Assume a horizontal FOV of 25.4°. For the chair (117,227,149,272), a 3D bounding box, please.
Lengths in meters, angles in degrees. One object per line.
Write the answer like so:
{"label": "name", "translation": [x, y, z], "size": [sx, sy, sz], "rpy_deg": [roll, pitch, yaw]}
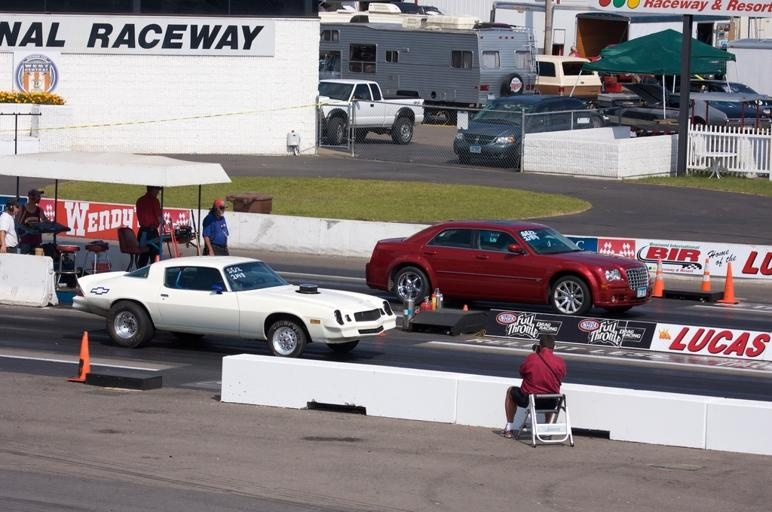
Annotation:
{"label": "chair", "translation": [-6.469, -0.296, 44.279], "size": [0.740, 1.086, 0.789], "rpy_deg": [-8, 11, -40]}

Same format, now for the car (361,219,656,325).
{"label": "car", "translation": [3.141, 0.228, 44.089], "size": [6.332, 1.791, 2.625], "rpy_deg": [1, 2, 19]}

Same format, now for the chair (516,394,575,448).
{"label": "chair", "translation": [3.432, 3.492, 36.752], "size": [0.854, 0.914, 1.411], "rpy_deg": [1, -4, -11]}

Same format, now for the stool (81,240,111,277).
{"label": "stool", "translation": [-7.625, -0.051, 44.531], "size": [0.686, 0.761, 0.682], "rpy_deg": [18, 13, 26]}

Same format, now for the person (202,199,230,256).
{"label": "person", "translation": [-4.481, -0.863, 44.868], "size": [0.639, 1.403, 0.998], "rpy_deg": [-1, 11, -6]}

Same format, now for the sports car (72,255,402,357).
{"label": "sports car", "translation": [-3.695, 1.081, 41.938], "size": [7.347, 2.215, 3.691], "rpy_deg": [4, 4, 20]}

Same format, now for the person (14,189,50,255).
{"label": "person", "translation": [-9.316, -0.760, 45.122], "size": [0.911, 2.130, 0.718], "rpy_deg": [0, 1, -13]}
